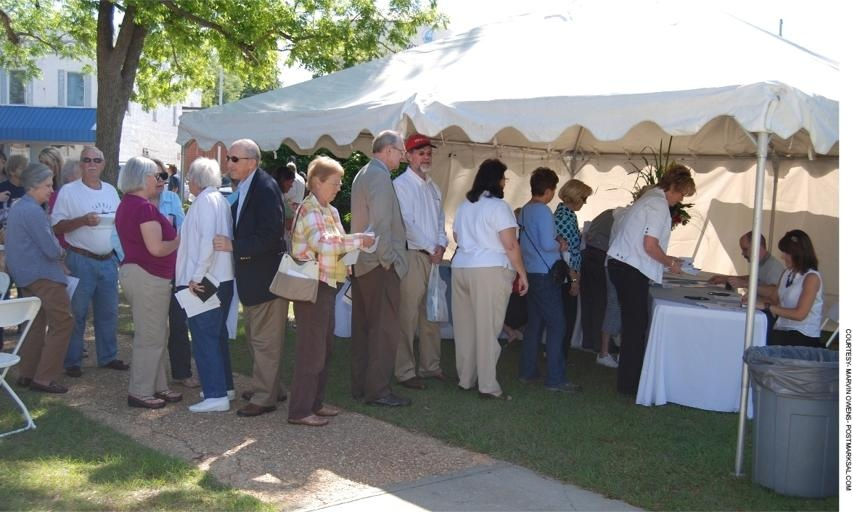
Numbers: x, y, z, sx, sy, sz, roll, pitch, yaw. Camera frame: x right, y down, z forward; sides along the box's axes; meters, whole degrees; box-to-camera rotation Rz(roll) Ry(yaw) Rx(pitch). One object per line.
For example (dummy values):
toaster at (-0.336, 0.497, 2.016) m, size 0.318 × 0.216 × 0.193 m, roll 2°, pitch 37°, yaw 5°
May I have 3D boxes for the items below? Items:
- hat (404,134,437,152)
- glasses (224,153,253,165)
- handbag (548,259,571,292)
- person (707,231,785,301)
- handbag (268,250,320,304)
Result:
hat at (-0.107, -1.291, 8.189) m, size 0.218 × 0.145 × 0.295 m, roll -5°, pitch 1°, yaw -42°
glasses at (-1.922, -1.010, 7.485) m, size 0.319 × 0.123 × 0.163 m, roll 3°, pitch 2°, yaw -13°
handbag at (1.571, 0.217, 8.459) m, size 0.149 × 0.274 × 0.286 m, roll -10°, pitch -49°, yaw 46°
person at (4.104, 0.123, 9.084) m, size 0.887 × 0.767 × 0.906 m, roll -9°, pitch -1°, yaw -6°
handbag at (-1.331, 0.217, 7.284) m, size 0.462 × 0.434 × 0.201 m, roll 12°, pitch -11°, yaw 0°
